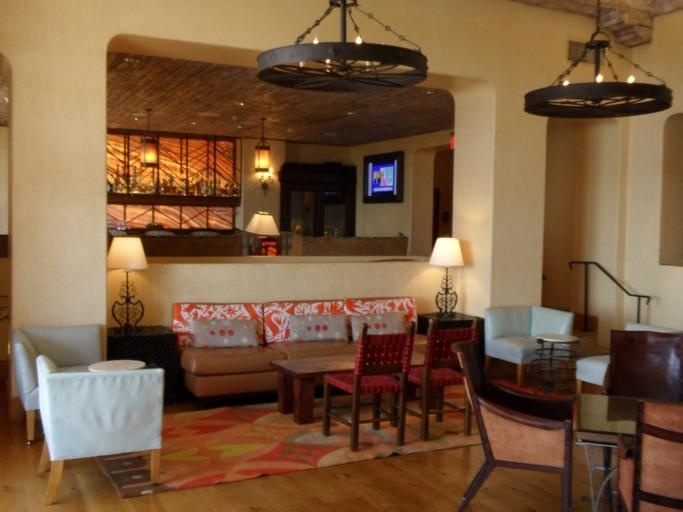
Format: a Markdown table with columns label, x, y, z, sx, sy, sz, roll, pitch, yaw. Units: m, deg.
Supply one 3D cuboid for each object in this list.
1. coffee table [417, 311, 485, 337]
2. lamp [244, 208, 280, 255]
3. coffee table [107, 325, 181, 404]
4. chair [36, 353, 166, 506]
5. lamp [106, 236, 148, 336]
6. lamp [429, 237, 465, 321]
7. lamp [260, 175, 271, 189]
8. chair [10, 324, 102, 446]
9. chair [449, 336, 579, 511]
| label | x | y | z | sx | sy | sz | roll | pitch | yaw |
| --- | --- | --- | --- | --- | --- | --- | --- | --- | --- |
| coffee table | 1.446 | 0.831 | 8.017 | 0.582 | 0.212 | 0.575 | 3 | -2 | -30 |
| lamp | -1.560 | -0.485 | 12.648 | 0.788 | 1.451 | 0.827 | -2 | 6 | -12 |
| coffee table | -2.068 | 1.199 | 6.890 | 0.846 | 0.831 | 0.798 | 2 | -3 | -7 |
| chair | -1.933 | 1.304 | 5.094 | 0.976 | 1.132 | 1.196 | -2 | 3 | -25 |
| lamp | -2.348 | 0.290 | 6.816 | 0.415 | 1.043 | 0.534 | -1 | 8 | -20 |
| lamp | 1.394 | 0.274 | 8.284 | 0.464 | 1.045 | 0.649 | 3 | 7 | 11 |
| lamp | -1.799 | -1.666 | 14.470 | 0.220 | 0.314 | 0.534 | 0 | 7 | -8 |
| chair | -2.716 | 1.165 | 6.029 | 0.973 | 1.184 | 0.942 | 1 | -3 | -32 |
| chair | 1.308 | 1.261 | 5.142 | 1.176 | 1.540 | 1.081 | -2 | -2 | 18 |
